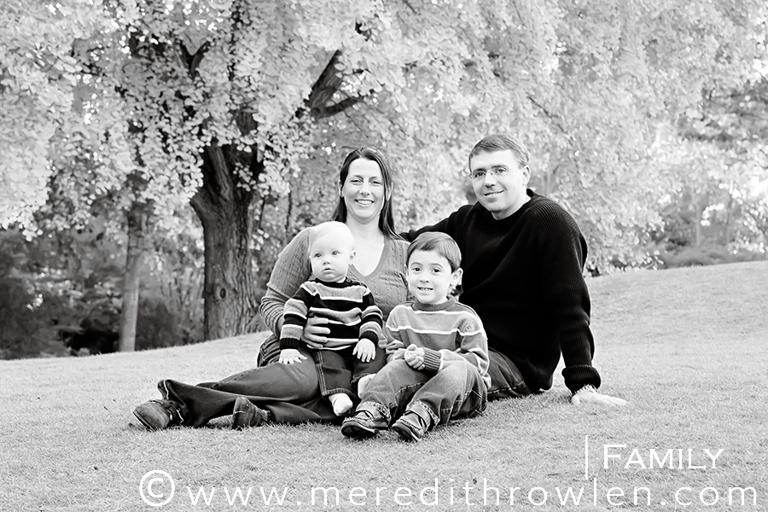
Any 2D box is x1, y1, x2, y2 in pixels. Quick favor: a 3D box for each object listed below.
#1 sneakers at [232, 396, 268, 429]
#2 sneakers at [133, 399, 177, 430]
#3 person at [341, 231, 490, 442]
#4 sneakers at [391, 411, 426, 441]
[{"bbox_3d":[-1.166,1.364,7.400,0.142,0.183,0.413,-1,-4,27],"label":"sneakers"},{"bbox_3d":[-1.939,1.377,7.384,0.353,0.203,0.153,-4,-43,-53],"label":"sneakers"},{"bbox_3d":[0.300,0.661,7.432,1.252,1.578,0.759,-10,15,-43],"label":"person"},{"bbox_3d":[0.227,1.409,7.159,0.312,0.218,0.200,-2,11,-8],"label":"sneakers"}]
